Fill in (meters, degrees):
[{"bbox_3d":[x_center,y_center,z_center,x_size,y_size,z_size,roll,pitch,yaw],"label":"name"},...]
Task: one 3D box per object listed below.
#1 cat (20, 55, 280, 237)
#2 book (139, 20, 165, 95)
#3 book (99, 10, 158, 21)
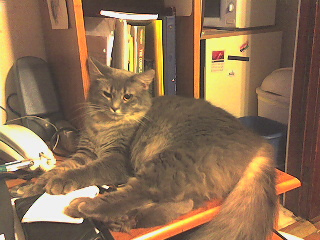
[{"bbox_3d":[-0.018,0.165,0.865,0.592,0.300,0.487,8,29,-9],"label":"cat"},{"bbox_3d":[-0.012,-0.200,0.912,0.037,0.183,0.167,-2,8,-10],"label":"book"},{"bbox_3d":[-0.096,-0.336,0.957,0.192,0.027,0.161,-6,25,-10],"label":"book"}]
